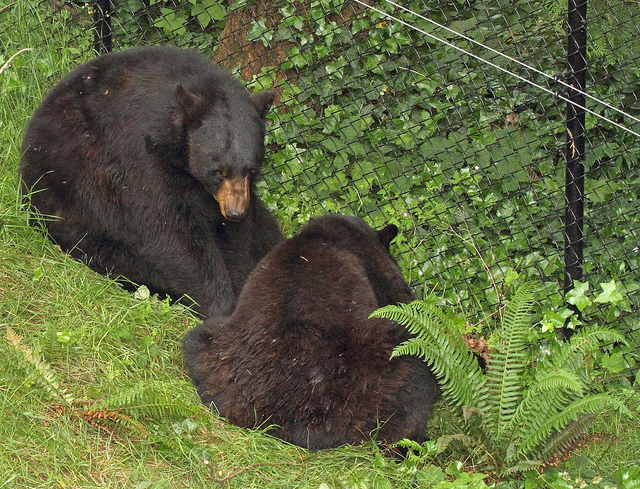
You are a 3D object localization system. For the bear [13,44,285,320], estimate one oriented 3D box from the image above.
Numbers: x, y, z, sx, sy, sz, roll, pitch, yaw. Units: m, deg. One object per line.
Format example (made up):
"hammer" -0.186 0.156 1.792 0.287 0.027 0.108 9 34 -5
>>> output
"bear" -1.604 -0.841 7.283 2.727 1.958 1.772 27 32 26

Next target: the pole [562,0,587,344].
"pole" 2.224 -0.654 6.643 0.230 2.927 0.539 -1 8 19

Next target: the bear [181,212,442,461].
"bear" 0.106 0.702 6.151 1.386 1.112 1.989 11 43 11
